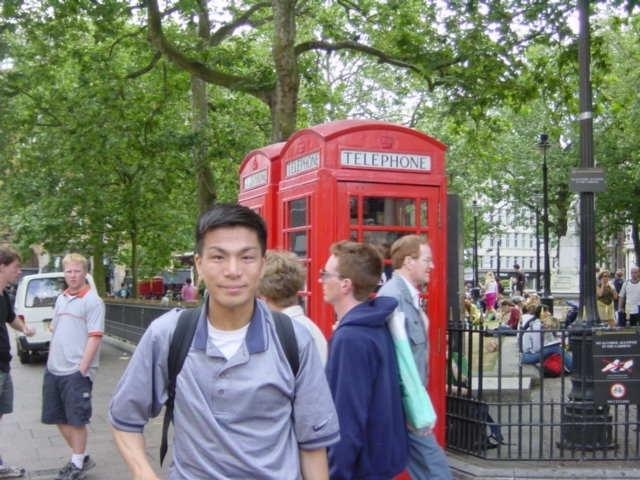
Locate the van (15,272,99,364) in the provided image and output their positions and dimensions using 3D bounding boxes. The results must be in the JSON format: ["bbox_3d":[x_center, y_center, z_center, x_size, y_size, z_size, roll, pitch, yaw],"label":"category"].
[{"bbox_3d":[-6.059,1.736,18.192,2.248,1.997,3.584,-1,2,-24],"label":"van"}]
